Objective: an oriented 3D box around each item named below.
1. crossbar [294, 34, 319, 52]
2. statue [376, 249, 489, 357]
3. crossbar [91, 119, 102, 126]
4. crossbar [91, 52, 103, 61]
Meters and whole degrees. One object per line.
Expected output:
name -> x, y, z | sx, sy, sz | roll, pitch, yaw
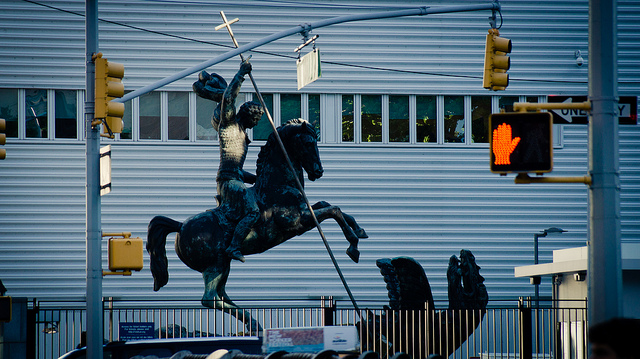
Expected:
crossbar -> -0.503, -4.970, 74.602 | 0.813, 0.625, 1.854 | 0, -5, -2
statue -> 4.245, 4.676, 77.711 | 3.881, 4.049, 1.807 | 0, -6, -1
crossbar -> -7.812, -2.014, 71.853 | 0.394, 0.212, 0.228 | 2, -6, -21
crossbar -> -7.826, -4.356, 71.915 | 0.382, 0.152, 0.200 | -18, -25, 19
